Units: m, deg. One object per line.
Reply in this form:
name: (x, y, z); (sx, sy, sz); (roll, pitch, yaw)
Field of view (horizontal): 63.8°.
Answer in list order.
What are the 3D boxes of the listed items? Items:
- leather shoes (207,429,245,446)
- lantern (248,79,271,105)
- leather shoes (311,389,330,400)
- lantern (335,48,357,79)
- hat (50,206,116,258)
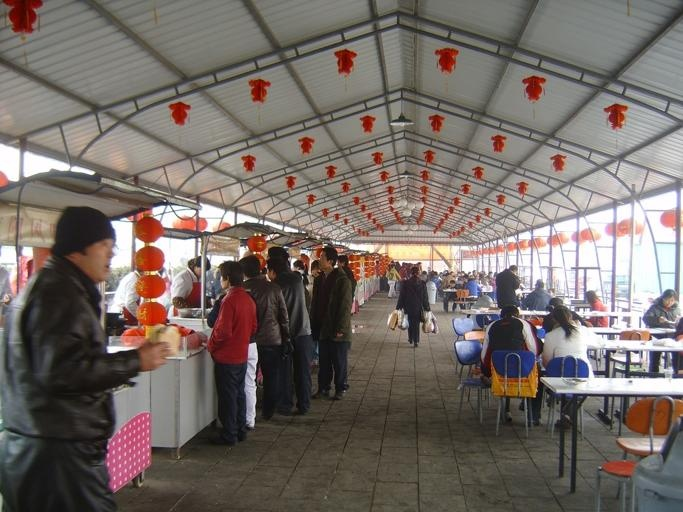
leather shoes: (-1.285, 2.093, 6.291); (0.495, 0.192, 0.161); (-6, -4, 6)
lantern: (-1.171, -2.386, 7.807); (0.243, 0.446, 0.552); (0, 2, -8)
leather shoes: (-0.288, 2.073, 8.130); (0.305, 0.118, 0.098); (-1, -31, 7)
lantern: (0.048, -2.645, 7.385); (0.255, 0.440, 0.454); (0, 2, -1)
hat: (-1.429, -0.122, 3.112); (0.320, 0.245, 0.275); (-4, -5, -9)
